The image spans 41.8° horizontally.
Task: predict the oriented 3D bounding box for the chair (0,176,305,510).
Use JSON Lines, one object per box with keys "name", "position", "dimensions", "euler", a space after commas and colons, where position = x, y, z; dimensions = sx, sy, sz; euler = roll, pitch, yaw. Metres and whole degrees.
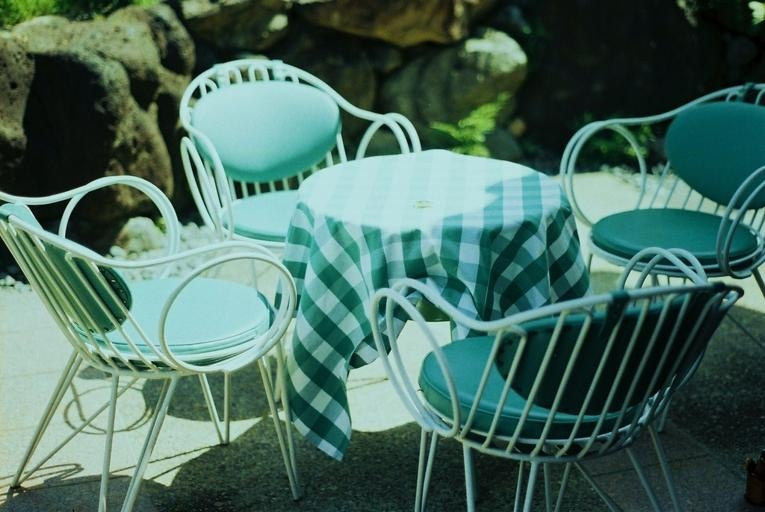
{"name": "chair", "position": [-1.144, 0.502, 5.017], "dimensions": [1.111, 1.345, 0.995], "euler": [-13, 37, -34]}
